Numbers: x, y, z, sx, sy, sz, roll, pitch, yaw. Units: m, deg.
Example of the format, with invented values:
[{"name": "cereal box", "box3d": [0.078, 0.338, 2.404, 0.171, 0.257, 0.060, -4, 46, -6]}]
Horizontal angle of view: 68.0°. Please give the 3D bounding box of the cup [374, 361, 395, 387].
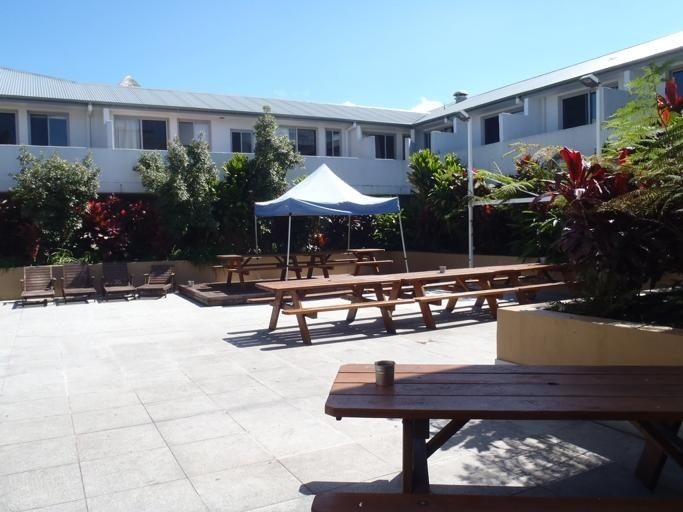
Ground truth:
[{"name": "cup", "box3d": [0.298, 0.801, 3.496, 0.159, 0.139, 0.157, 0, 7, 0]}]
